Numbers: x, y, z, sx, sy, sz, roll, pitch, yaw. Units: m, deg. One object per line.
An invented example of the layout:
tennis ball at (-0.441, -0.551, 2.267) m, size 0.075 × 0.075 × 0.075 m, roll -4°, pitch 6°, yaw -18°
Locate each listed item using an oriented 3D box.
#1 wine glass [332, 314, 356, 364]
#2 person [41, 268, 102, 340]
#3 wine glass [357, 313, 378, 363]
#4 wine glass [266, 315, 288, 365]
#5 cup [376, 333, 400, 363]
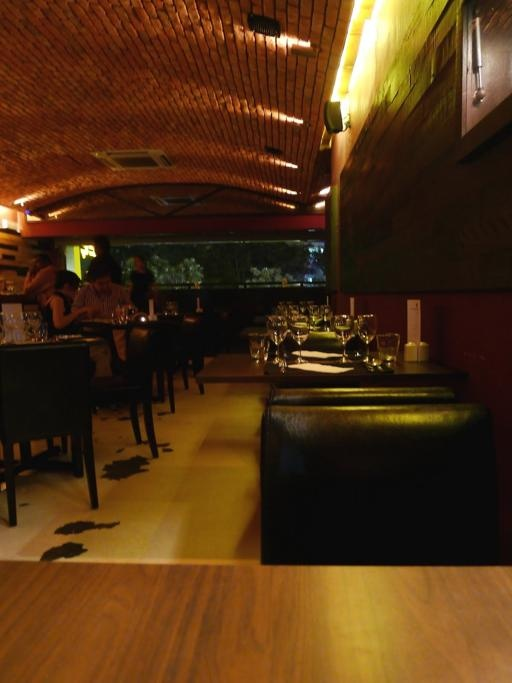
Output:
wine glass at (0.448, -0.024, 2.276) m, size 0.094 × 0.299 × 0.108 m, roll 5°, pitch 32°, yaw 18°
person at (-1.792, -0.212, 4.302) m, size 0.399 × 0.956 × 0.433 m, roll -6°, pitch -6°, yaw 9°
wine glass at (0.553, -0.020, 2.219) m, size 0.087 × 0.294 × 0.100 m, roll 5°, pitch 30°, yaw 22°
wine glass at (0.106, -0.016, 2.148) m, size 0.077 × 0.246 × 0.088 m, roll 0°, pitch 25°, yaw 1°
cup at (0.608, 0.025, 2.063) m, size 0.096 × 0.147 × 0.111 m, roll -1°, pitch 2°, yaw 13°
